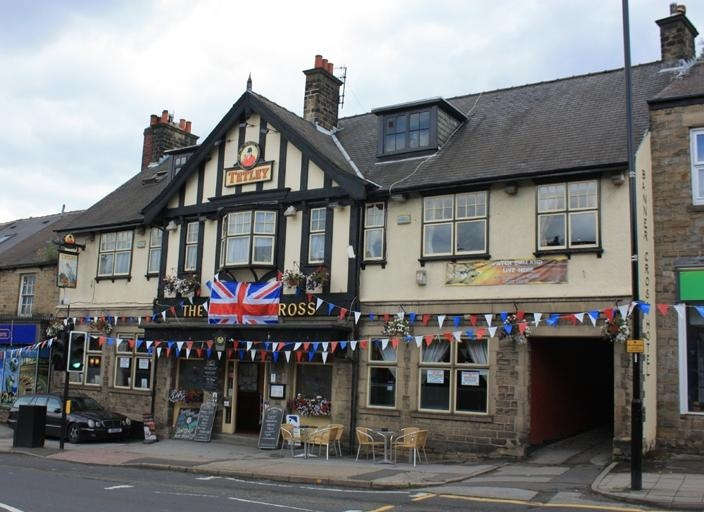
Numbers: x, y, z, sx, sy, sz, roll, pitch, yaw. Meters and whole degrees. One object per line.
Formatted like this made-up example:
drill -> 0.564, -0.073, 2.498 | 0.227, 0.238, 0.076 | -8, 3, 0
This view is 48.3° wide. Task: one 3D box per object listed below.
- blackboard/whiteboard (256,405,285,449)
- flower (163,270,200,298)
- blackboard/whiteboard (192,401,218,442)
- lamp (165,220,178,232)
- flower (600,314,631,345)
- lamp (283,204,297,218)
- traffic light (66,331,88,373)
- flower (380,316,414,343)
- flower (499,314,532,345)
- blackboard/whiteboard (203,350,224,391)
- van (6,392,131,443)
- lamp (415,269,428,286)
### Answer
blackboard/whiteboard -> -2.776, 5.807, 26.468 | 0.779, 1.341, 0.473 | 0, -9, -7
flower -> -6.238, 1.126, 28.863 | 0.996, 0.554, 1.067 | -2, -6, 14
blackboard/whiteboard -> -5.279, 5.898, 28.056 | 0.778, 1.399, 0.385 | -6, -10, 28
lamp -> -6.924, -1.119, 29.897 | 0.397, 0.412, 0.383 | -4, 4, 11
flower -> 7.444, 2.049, 22.129 | 0.787, 0.908, 0.283 | -3, -8, 26
lamp -> -2.184, -1.563, 27.204 | 0.351, 0.365, 0.361 | -2, -1, 20
traffic light -> -9.323, 3.215, 26.444 | 0.569, 1.331, 0.578 | 3, -10, -23
flower -> 1.397, 2.321, 25.096 | 0.817, 0.473, 0.729 | 6, 3, -9
flower -> 4.842, 2.185, 23.513 | 0.971, 0.944, 0.377 | -3, -9, 13
blackboard/whiteboard -> -5.131, 4.180, 28.396 | 0.861, 1.421, 0.302 | -5, -10, 26
van -> -10.565, 5.694, 27.566 | 4.661, 1.665, 3.394 | -4, -10, 20
lamp -> 2.198, 0.682, 24.876 | 0.354, 0.595, 0.224 | -3, -9, 17
